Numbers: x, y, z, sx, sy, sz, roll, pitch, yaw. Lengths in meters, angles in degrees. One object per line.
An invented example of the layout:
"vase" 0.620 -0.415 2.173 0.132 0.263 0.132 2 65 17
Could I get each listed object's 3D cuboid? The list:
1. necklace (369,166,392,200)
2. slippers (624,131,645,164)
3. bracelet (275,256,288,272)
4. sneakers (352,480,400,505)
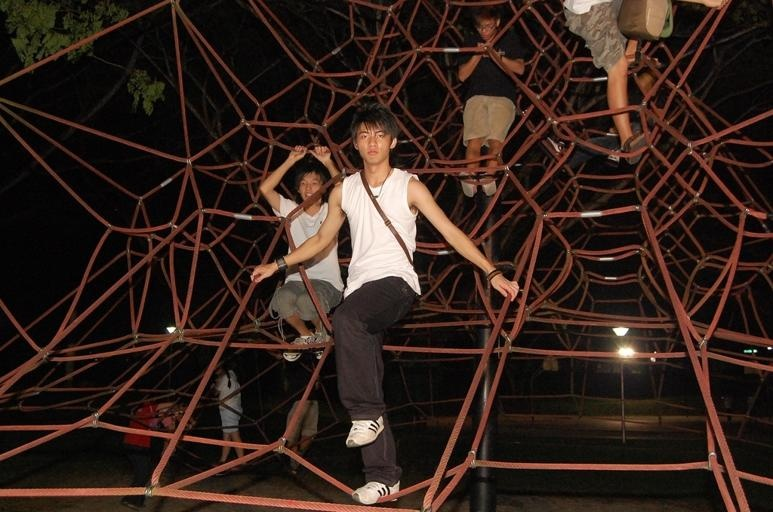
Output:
"necklace" -0.078 -0.695 6.571 0.228 0.273 0.068 -2 -18 15
"slippers" 2.639 -1.159 7.297 0.201 0.138 0.348 6 -78 3
"bracelet" -1.034 0.070 6.788 0.102 0.136 0.148 -20 -68 -19
"sneakers" -0.115 2.118 6.168 0.509 0.187 0.177 15 -11 -28
